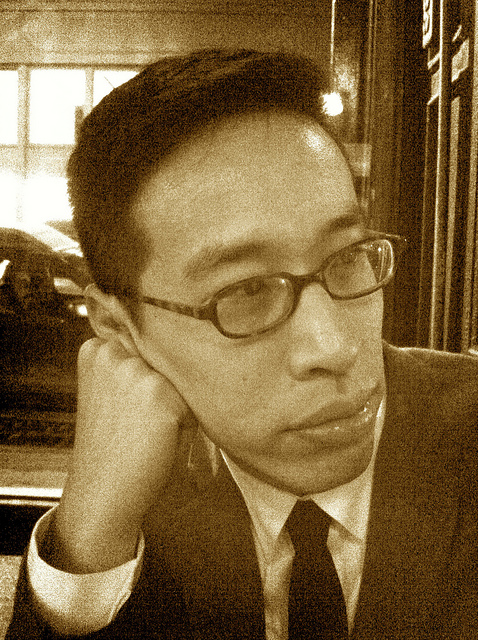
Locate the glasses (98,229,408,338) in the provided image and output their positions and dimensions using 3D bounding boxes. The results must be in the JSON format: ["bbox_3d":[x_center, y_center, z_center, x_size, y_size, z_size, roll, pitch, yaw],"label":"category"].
[{"bbox_3d":[0.039,-0.064,1.457,0.557,0.164,0.170,-1,14,-5],"label":"glasses"}]
